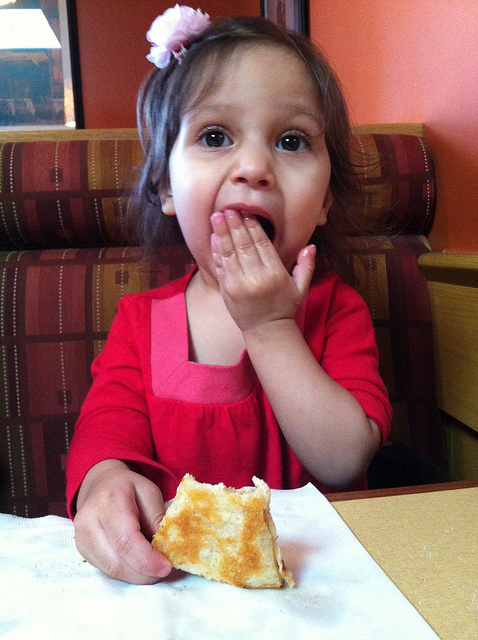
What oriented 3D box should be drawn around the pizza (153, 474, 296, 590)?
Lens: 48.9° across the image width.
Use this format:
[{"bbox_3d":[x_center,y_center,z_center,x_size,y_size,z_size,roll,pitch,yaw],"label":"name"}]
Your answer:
[{"bbox_3d":[-0.012,0.173,0.443,0.086,0.090,0.028,-12,-25,9],"label":"pizza"}]
